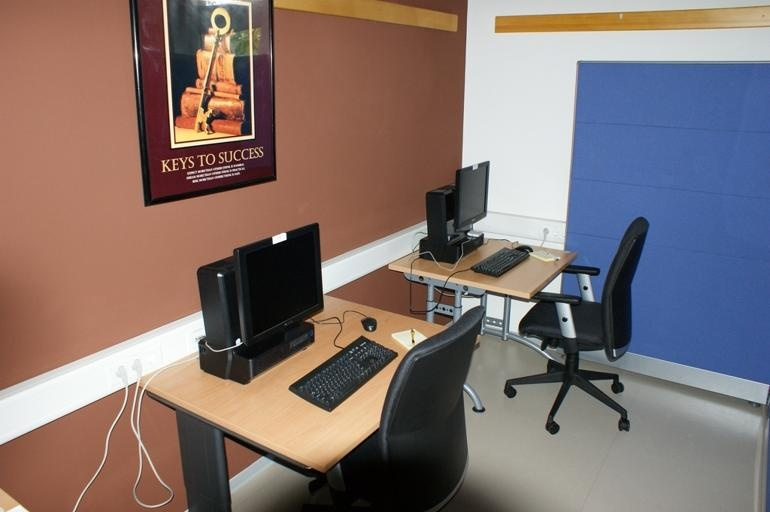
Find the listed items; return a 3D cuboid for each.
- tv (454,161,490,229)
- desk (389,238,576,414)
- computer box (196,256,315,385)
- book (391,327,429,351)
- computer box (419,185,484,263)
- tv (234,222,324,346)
[{"bbox_3d":[0.710,-0.511,4.406,0.061,0.524,0.568,6,17,29],"label":"tv"},{"bbox_3d":[0.749,0.221,4.548,1.330,1.242,1.405,14,27,34],"label":"desk"},{"bbox_3d":[-0.752,0.315,3.121,0.472,0.618,0.588,7,17,29],"label":"computer box"},{"bbox_3d":[0.132,0.489,3.244,0.142,0.017,0.155,23,34,35],"label":"book"},{"bbox_3d":[0.551,-0.289,4.439,0.388,0.531,0.545,10,20,30],"label":"computer box"},{"bbox_3d":[-0.601,0.170,3.016,0.225,0.640,0.624,7,12,33],"label":"tv"}]
